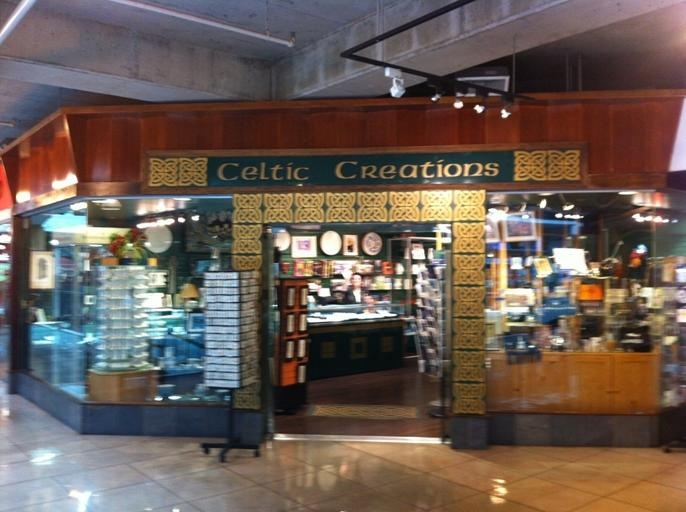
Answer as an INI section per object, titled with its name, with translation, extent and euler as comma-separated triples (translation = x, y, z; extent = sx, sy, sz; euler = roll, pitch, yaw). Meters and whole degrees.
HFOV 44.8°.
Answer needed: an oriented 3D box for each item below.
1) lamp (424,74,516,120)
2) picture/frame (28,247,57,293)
[lamp]
translation = 1.422, -1.949, 9.657
extent = 0.813, 0.126, 0.458
euler = -11, 36, -23
[picture/frame]
translation = -4.314, 0.193, 12.034
extent = 0.083, 0.546, 0.800
euler = 4, -3, -44
